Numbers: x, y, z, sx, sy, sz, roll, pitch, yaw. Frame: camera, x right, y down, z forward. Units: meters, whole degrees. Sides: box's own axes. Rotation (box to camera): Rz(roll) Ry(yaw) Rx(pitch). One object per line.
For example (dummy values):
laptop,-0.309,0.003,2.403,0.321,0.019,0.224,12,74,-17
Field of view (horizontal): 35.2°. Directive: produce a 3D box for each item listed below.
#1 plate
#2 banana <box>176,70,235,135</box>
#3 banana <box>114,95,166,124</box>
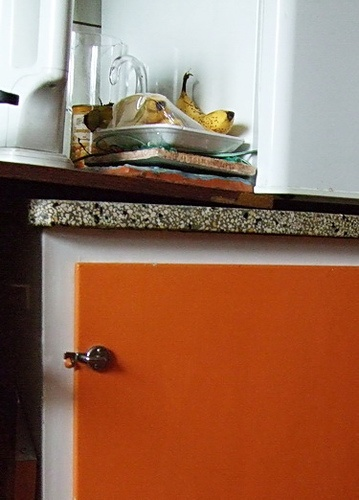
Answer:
plate,-0.009,-0.181,0.926,0.257,0.048,0.135,-2,-7,-9
banana,0.054,-0.277,1.083,0.125,0.100,0.043,24,37,26
banana,-0.067,-0.223,0.932,0.055,0.024,0.081,-5,6,-38
